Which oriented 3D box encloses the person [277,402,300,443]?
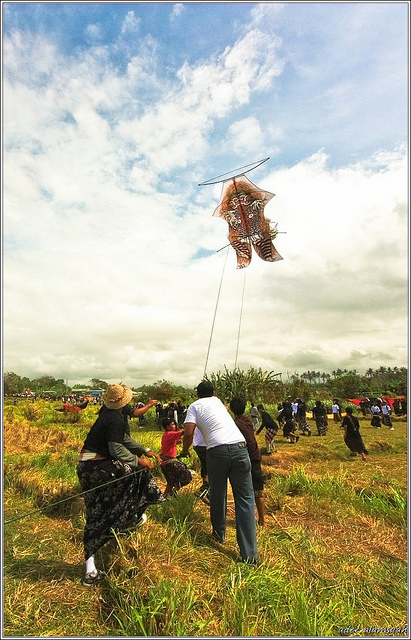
[{"bbox_3d":[3.180,4.038,14.620,0.641,1.484,1.292,1,-7,10],"label":"person"}]

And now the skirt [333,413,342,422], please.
[{"bbox_3d":[7.012,5.470,20.751,0.420,0.498,0.388,-2,-8,33],"label":"skirt"}]

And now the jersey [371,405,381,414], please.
[{"bbox_3d":[7.769,4.357,17.907,0.202,0.296,0.338,16,-20,-36],"label":"jersey"}]

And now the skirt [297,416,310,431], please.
[{"bbox_3d":[4.321,4.772,17.067,0.464,0.628,0.907,2,-7,9],"label":"skirt"}]

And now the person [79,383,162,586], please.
[{"bbox_3d":[-0.929,1.797,4.300,0.482,2.042,0.803,0,-8,22],"label":"person"}]

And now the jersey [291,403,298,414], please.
[{"bbox_3d":[4.203,4.307,18.066,0.320,0.477,0.141,0,-12,-7],"label":"jersey"}]

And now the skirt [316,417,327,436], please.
[{"bbox_3d":[4.774,4.618,16.057,0.343,0.795,0.356,0,-7,18],"label":"skirt"}]

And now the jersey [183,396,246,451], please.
[{"bbox_3d":[0.170,1.326,4.797,0.588,0.283,0.796,-5,21,-22],"label":"jersey"}]

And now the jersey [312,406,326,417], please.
[{"bbox_3d":[4.687,3.968,15.990,0.382,0.481,0.426,0,-8,20],"label":"jersey"}]

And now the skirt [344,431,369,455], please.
[{"bbox_3d":[4.423,3.799,11.548,0.538,0.659,0.321,0,-7,19],"label":"skirt"}]

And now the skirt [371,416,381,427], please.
[{"bbox_3d":[7.783,4.904,17.868,0.307,0.502,0.285,-1,-8,27],"label":"skirt"}]

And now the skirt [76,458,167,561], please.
[{"bbox_3d":[-0.762,2.258,4.858,0.949,0.469,1.428,-21,1,-2],"label":"skirt"}]

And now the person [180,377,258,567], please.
[{"bbox_3d":[0.216,1.879,4.785,0.916,2.133,0.891,3,-7,-1],"label":"person"}]

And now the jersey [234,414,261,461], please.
[{"bbox_3d":[0.641,1.685,5.261,0.318,0.630,0.460,-18,-9,-5],"label":"jersey"}]

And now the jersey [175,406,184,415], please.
[{"bbox_3d":[-0.862,4.041,16.561,0.389,0.387,0.213,3,-28,-11],"label":"jersey"}]

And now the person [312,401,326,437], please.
[{"bbox_3d":[4.730,4.272,16.033,0.472,1.480,0.816,1,-7,17],"label":"person"}]

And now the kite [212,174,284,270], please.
[{"bbox_3d":[1.227,-2.681,10.784,1.523,2.210,1.129,2,-7,5],"label":"kite"}]

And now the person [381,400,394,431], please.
[{"bbox_3d":[8.294,4.609,17.916,0.465,1.151,2.026,0,-8,24],"label":"person"}]

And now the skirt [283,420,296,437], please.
[{"bbox_3d":[3.132,4.213,14.454,0.379,0.662,0.412,10,-10,-44],"label":"skirt"}]

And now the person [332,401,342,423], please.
[{"bbox_3d":[7.010,5.136,20.733,0.373,1.126,0.610,0,-7,18],"label":"person"}]

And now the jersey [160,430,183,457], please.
[{"bbox_3d":[-0.466,2.093,6.285,0.392,0.432,0.249,1,-7,17],"label":"jersey"}]

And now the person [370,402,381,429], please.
[{"bbox_3d":[7.782,4.692,17.895,0.341,1.004,0.629,-1,-8,25],"label":"person"}]

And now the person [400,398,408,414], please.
[{"bbox_3d":[10.800,4.992,21.491,0.226,0.745,0.683,-2,-9,36],"label":"person"}]

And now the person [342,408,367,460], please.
[{"bbox_3d":[4.531,3.535,11.836,0.622,1.549,2.579,0,-8,22],"label":"person"}]
